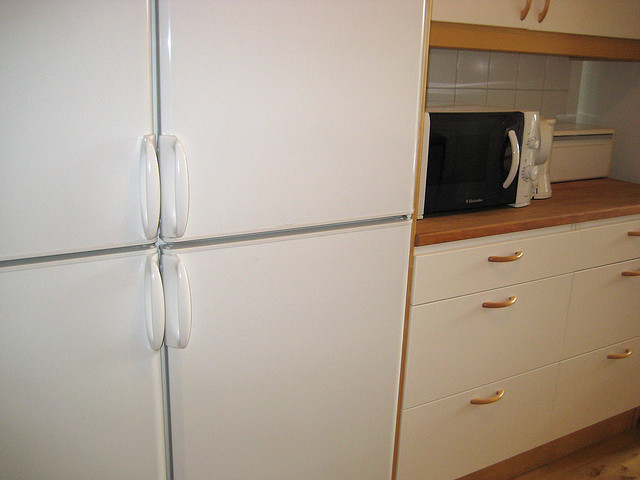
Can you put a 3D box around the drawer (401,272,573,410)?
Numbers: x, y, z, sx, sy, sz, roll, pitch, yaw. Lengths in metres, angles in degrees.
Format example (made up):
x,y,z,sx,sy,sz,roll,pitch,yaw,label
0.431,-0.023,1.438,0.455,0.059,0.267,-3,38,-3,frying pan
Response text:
x,y,z,sx,sy,sz,roll,pitch,yaw,label
0.582,0.348,1.735,0.572,0.332,0.438,-6,11,-24,drawer

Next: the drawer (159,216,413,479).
x,y,z,sx,sy,sz,roll,pitch,yaw,label
-0.088,0.229,1.781,0.710,1.190,0.727,-5,12,-28,drawer

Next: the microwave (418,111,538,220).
x,y,z,sx,sy,sz,roll,pitch,yaw,label
0.536,-0.305,1.914,0.389,0.444,0.365,-1,19,-13,microwave
